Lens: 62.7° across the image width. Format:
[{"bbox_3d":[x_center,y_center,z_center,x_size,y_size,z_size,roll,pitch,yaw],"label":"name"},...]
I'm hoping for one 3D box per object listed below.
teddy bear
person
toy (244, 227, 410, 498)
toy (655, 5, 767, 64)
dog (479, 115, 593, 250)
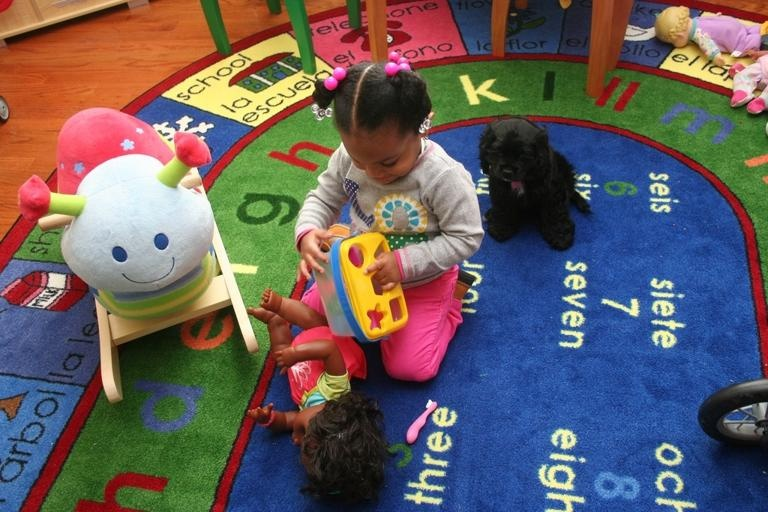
[{"bbox_3d":[0.442,-0.218,1.911,0.291,0.347,0.276,0,60,9],"label":"teddy bear"},{"bbox_3d":[-0.007,-0.121,1.772,0.569,0.848,0.460,13,34,23],"label":"person"},{"bbox_3d":[-0.196,0.275,1.782,0.474,0.293,0.658,-4,80,-32],"label":"toy"},{"bbox_3d":[1.256,-0.851,2.432,0.328,0.111,0.248,1,46,16],"label":"toy"},{"bbox_3d":[0.439,-0.216,1.911,0.276,0.347,0.282,-3,59,8],"label":"dog"}]
